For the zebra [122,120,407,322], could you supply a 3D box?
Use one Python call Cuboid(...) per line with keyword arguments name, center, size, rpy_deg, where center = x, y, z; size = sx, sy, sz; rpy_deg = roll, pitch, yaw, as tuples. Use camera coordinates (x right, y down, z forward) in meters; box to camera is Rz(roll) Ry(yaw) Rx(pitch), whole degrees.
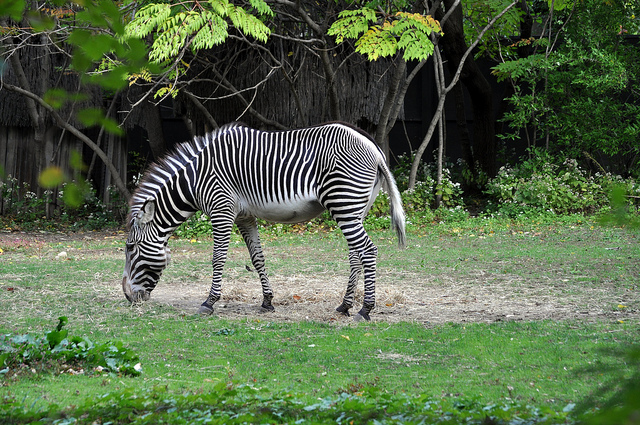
Cuboid(name="zebra", center=(-0.900, 0.187, 10.275), size=(4.542, 2.757, 1.200), rpy_deg=(-1, -4, 14))
